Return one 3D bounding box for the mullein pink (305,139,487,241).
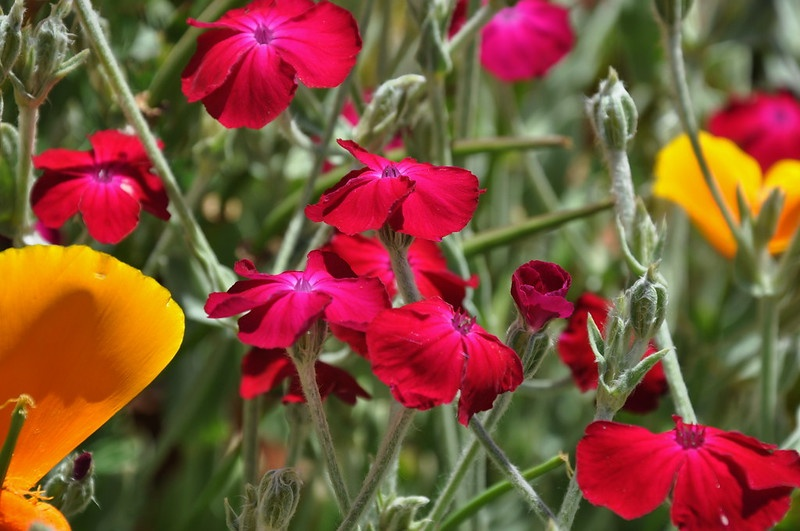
[{"bbox_3d":[0.000,-0.036,0.453,0.061,0.028,0.065,8,14,10],"label":"mullein pink"}]

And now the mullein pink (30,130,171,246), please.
[{"bbox_3d":[-0.180,-0.045,0.517,0.064,0.017,0.071,7,44,-13],"label":"mullein pink"}]

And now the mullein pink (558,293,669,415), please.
[{"bbox_3d":[0.144,0.056,0.587,0.022,0.085,0.077,-13,30,-36],"label":"mullein pink"}]

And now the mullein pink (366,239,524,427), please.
[{"bbox_3d":[0.028,0.039,0.454,0.083,0.036,0.080,36,33,21],"label":"mullein pink"}]

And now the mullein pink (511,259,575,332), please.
[{"bbox_3d":[0.071,0.014,0.451,0.029,0.031,0.034,2,41,-3],"label":"mullein pink"}]

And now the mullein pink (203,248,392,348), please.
[{"bbox_3d":[-0.052,0.017,0.447,0.089,0.038,0.051,17,7,-14],"label":"mullein pink"}]
